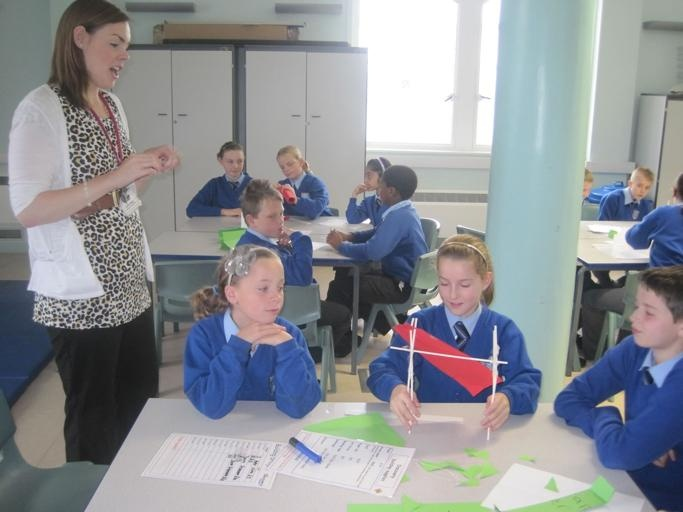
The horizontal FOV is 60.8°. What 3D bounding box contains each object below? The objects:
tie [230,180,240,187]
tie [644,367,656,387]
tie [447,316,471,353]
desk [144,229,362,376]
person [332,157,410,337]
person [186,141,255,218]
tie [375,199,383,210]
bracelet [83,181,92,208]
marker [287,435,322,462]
[{"bbox_3d":[-0.872,-0.591,4.719,0.048,0.050,0.012,-3,0,-3],"label":"tie"},{"bbox_3d":[0.958,0.381,1.823,0.024,0.044,0.037,-23,13,19],"label":"tie"},{"bbox_3d":[0.406,0.270,2.000,0.071,0.128,0.030,2,1,17],"label":"tie"},{"bbox_3d":[-0.785,0.275,3.822,0.988,0.643,1.009,-1,13,0],"label":"desk"},{"bbox_3d":[0.221,-0.006,3.892,0.671,1.207,0.502,2,14,0],"label":"person"},{"bbox_3d":[-0.900,-0.591,4.732,0.730,0.631,0.386,-4,20,-24],"label":"person"},{"bbox_3d":[0.270,-0.390,4.415,0.032,0.092,0.067,2,-18,-13],"label":"tie"},{"bbox_3d":[-0.774,-0.188,1.782,0.017,0.062,0.043,-12,9,-12],"label":"bracelet"},{"bbox_3d":[-0.102,0.526,1.573,0.034,0.032,0.126,-23,33,-29],"label":"marker"}]
